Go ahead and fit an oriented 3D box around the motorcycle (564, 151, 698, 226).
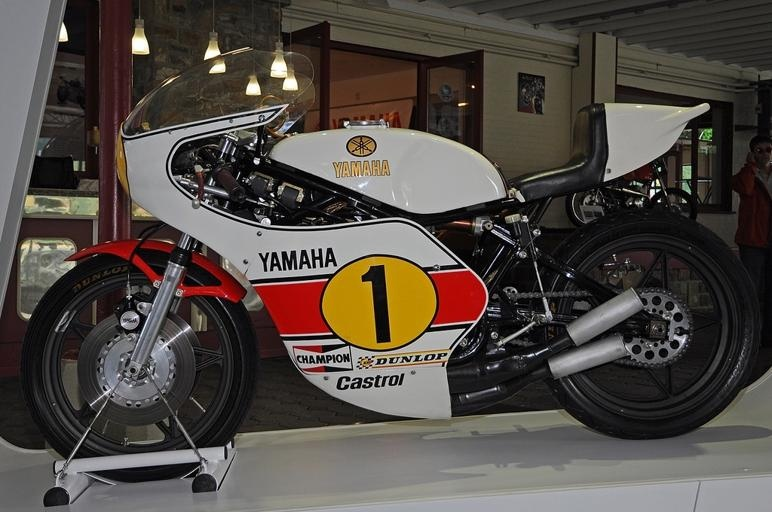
[{"bbox_3d":[1.417,-0.403,4.005,0.741,0.539,0.409,2,-4,-5],"label":"motorcycle"}]
